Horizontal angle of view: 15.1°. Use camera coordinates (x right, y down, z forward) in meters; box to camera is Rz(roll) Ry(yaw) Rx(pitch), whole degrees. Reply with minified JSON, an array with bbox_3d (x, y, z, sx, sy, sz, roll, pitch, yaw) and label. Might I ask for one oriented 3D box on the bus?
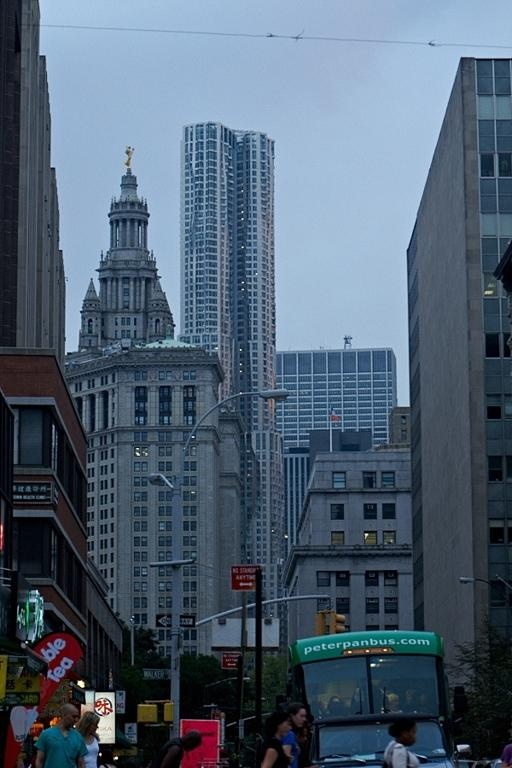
[{"bbox_3d":[2.007,5.208,34.625,2.847,1.832,3.365,-6,-14,4],"label":"bus"}]
